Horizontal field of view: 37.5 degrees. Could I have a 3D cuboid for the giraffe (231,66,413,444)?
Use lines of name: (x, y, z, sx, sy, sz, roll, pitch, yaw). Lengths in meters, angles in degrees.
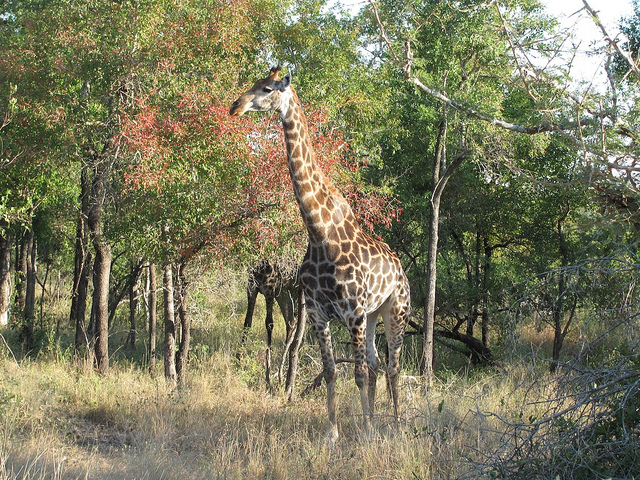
giraffe: (0.332, 0.370, 17.350, 3.554, 6.610, 1.171, 10, -12, -42)
